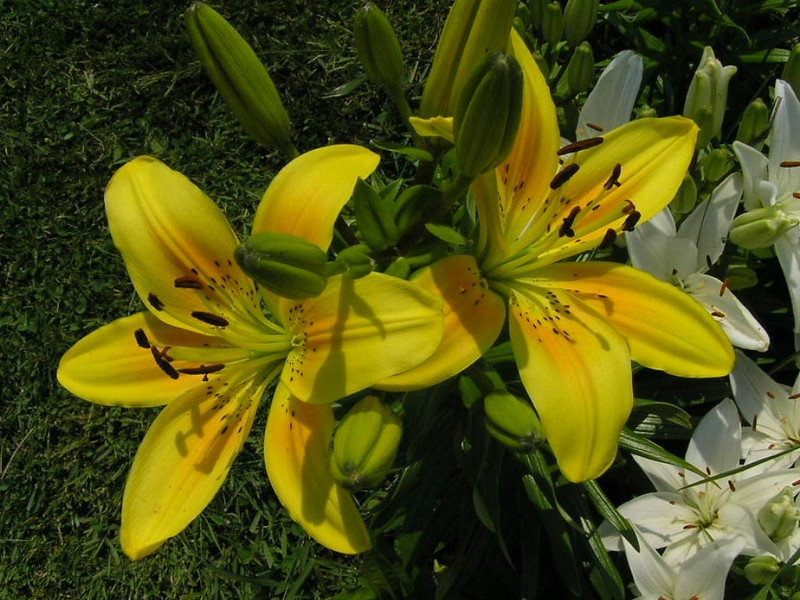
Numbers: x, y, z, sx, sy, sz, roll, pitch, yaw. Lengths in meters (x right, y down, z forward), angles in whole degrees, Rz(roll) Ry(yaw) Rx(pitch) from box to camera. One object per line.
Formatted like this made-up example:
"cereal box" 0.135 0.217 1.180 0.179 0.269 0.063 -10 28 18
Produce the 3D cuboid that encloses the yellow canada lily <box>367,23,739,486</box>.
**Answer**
"yellow canada lily" 0.309 -0.078 1.848 0.973 0.885 0.680 5 28 7

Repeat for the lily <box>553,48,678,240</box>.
"lily" 0.491 -0.453 1.838 0.103 0.218 0.113 3 33 -13
